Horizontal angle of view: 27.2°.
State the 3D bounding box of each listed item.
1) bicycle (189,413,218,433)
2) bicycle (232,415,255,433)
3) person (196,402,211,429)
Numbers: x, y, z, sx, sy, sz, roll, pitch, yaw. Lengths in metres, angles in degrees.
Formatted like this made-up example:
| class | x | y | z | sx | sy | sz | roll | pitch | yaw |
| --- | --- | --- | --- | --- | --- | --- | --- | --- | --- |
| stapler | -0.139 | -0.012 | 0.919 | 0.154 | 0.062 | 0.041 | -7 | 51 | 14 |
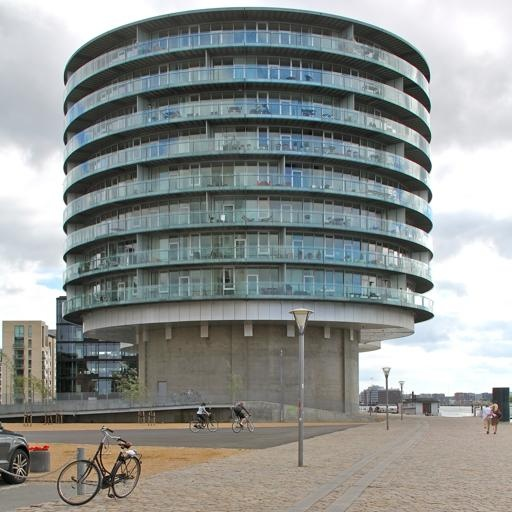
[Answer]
| class | x | y | z | sx | sy | sz | roll | pitch | yaw |
| --- | --- | --- | --- | --- | --- | --- | --- | --- | --- |
| bicycle | -2.573 | 8.338 | 52.904 | 1.802 | 0.985 | 0.862 | 1 | -4 | -39 |
| bicycle | -0.643 | 8.363 | 51.925 | 0.671 | 0.721 | 1.344 | -14 | -28 | 29 |
| person | -2.657 | 7.929 | 52.707 | 0.596 | 1.247 | 1.601 | 0 | -9 | -3 |
